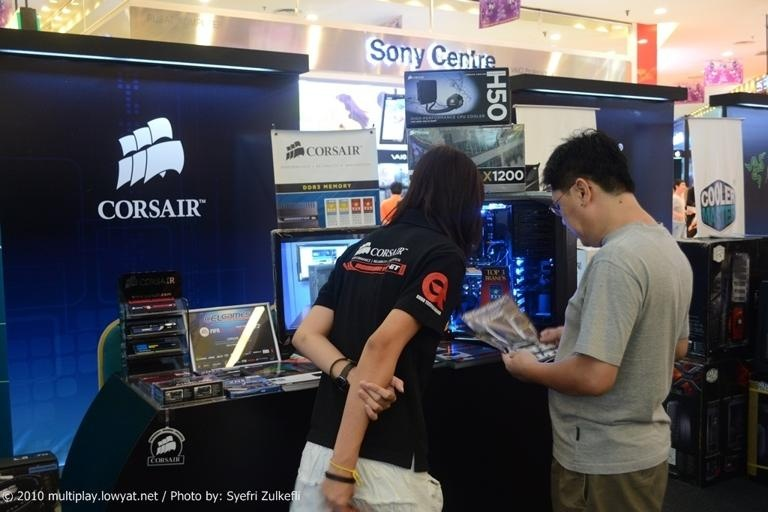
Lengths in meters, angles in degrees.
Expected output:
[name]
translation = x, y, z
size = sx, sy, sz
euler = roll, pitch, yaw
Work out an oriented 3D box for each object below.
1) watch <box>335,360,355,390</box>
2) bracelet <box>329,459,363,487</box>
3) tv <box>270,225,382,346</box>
[watch]
translation = -0.164, 0.501, 2.492
size = 0.071, 0.099, 0.112
euler = 21, 2, 27
[bracelet]
translation = -0.157, 0.870, 2.357
size = 0.109, 0.055, 0.097
euler = 4, 3, -2
[tv]
translation = -0.311, 0.158, 2.942
size = 0.728, 0.665, 0.068
euler = -1, 2, -13
